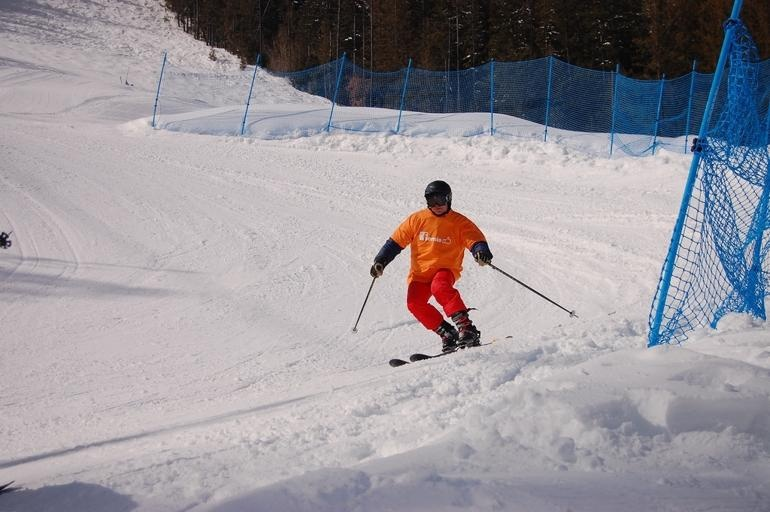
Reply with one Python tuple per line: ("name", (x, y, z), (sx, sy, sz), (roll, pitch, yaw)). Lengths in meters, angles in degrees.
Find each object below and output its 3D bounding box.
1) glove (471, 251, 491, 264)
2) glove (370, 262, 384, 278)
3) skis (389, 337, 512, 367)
("glove", (1.347, 0.037, 10.332), (0.190, 0.186, 0.212), (-1, 13, -36))
("glove", (-0.108, 0.204, 10.697), (0.165, 0.217, 0.085), (25, -20, 7))
("skis", (0.901, 1.285, 10.025), (1.044, 0.080, 0.150), (-16, 9, -19))
